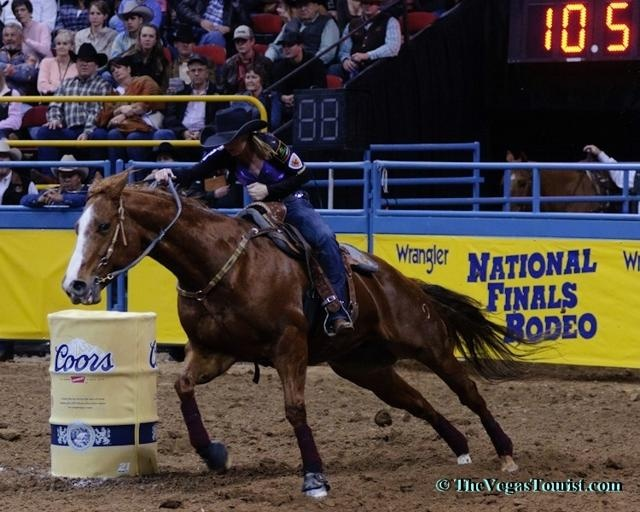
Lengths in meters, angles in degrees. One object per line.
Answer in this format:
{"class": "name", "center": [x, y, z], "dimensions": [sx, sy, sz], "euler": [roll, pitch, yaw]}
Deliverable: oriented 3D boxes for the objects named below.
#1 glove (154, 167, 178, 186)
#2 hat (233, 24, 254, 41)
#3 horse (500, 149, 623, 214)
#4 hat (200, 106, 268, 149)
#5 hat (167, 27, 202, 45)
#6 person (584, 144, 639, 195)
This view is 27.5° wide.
{"class": "glove", "center": [-1.472, -0.722, 12.355], "dimensions": [0.172, 0.066, 0.157], "euler": [-6, 45, 22]}
{"class": "hat", "center": [-1.117, -3.188, 18.938], "dimensions": [0.220, 0.168, 0.334], "euler": [-1, 2, 12]}
{"class": "horse", "center": [3.625, -0.860, 18.675], "dimensions": [1.922, 1.235, 0.624], "euler": [-3, 16, -14]}
{"class": "hat", "center": [-0.831, -1.179, 12.362], "dimensions": [0.665, 0.395, 0.429], "euler": [2, 11, 12]}
{"class": "hat", "center": [-1.958, -3.134, 19.036], "dimensions": [0.432, 0.171, 0.501], "euler": [-2, 4, -1]}
{"class": "person", "center": [3.965, -1.111, 17.864], "dimensions": [0.718, 0.722, 2.137], "euler": [2, 11, 11]}
